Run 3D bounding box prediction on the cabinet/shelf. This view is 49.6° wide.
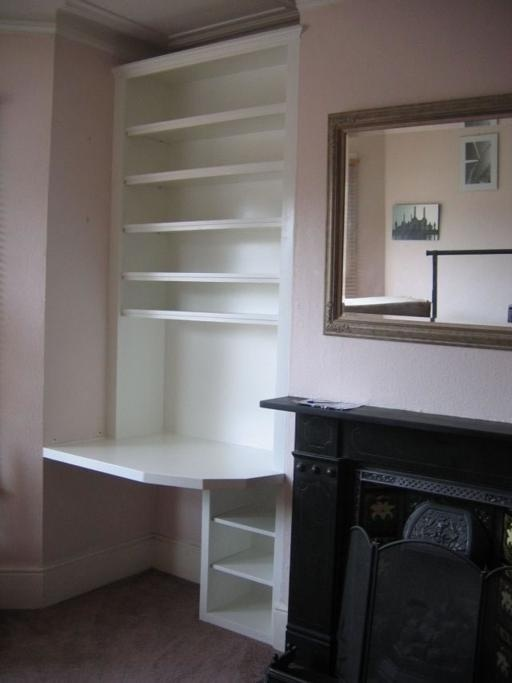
[{"bbox_3d":[-0.278,-0.014,2.496,0.962,2.521,0.814,4,5,19],"label":"cabinet/shelf"}]
